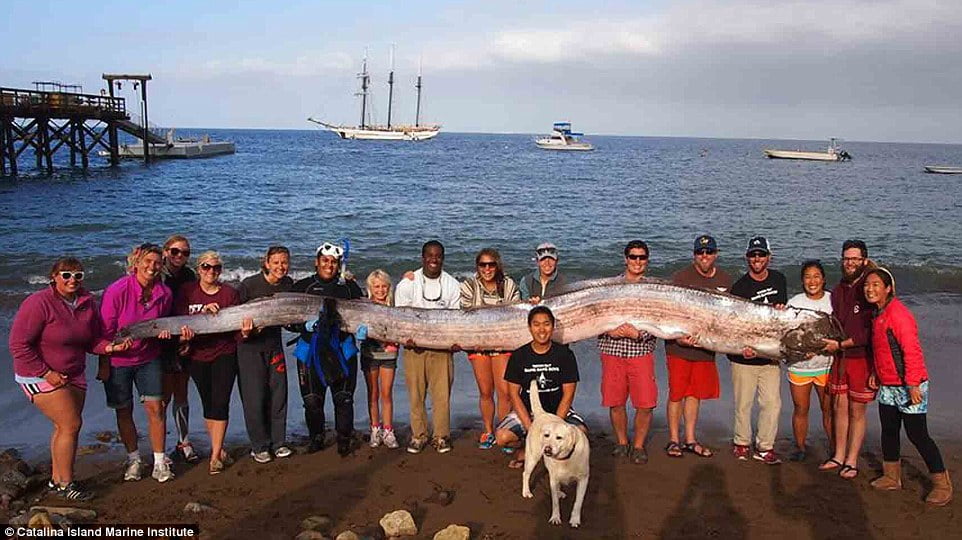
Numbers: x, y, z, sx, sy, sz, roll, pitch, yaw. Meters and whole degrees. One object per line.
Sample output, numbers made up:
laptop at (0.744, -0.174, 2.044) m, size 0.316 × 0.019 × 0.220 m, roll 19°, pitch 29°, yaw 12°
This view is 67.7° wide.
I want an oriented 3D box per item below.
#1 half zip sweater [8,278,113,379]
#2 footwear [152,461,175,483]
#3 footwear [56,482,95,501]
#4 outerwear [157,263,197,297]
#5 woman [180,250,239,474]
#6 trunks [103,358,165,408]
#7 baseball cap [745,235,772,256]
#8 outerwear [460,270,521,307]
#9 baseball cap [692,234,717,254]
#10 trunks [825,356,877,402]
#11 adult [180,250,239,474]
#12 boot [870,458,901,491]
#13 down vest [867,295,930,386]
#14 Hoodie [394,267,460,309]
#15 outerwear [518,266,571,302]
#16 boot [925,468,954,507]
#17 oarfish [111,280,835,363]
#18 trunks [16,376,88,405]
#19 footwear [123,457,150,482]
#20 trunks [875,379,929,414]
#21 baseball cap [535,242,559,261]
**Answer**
half zip sweater at (-6.573, 1.018, 11.618) m, size 1.437 × 1.673 × 1.702 m, roll 5°, pitch -1°, yaw 25°
footwear at (-5.163, 3.316, 11.643) m, size 0.455 × 0.188 × 0.210 m, roll -4°, pitch -6°, yaw 42°
footwear at (-6.357, 3.473, 11.269) m, size 0.613 × 0.252 × 0.234 m, roll 1°, pitch 3°, yaw 8°
outerwear at (-5.051, 0.136, 12.231) m, size 0.828 × 0.736 × 0.438 m, roll 0°, pitch 0°, yaw -19°
woman at (-4.471, 1.493, 11.990) m, size 0.877 × 3.617 × 0.855 m, roll 9°, pitch 16°, yaw 43°
trunks at (-5.575, 1.808, 11.546) m, size 0.928 × 0.796 × 0.490 m, roll -1°, pitch -3°, yaw -25°
baseball cap at (4.719, -0.428, 12.222) m, size 0.429 × 0.307 × 0.604 m, roll -4°, pitch 3°, yaw 28°
outerwear at (0.114, 0.167, 12.658) m, size 1.036 × 0.703 × 0.539 m, roll -1°, pitch 0°, yaw -1°
baseball cap at (3.886, -0.432, 12.492) m, size 0.488 × 0.331 × 0.679 m, roll -2°, pitch -5°, yaw 22°
trunks at (6.095, 1.775, 11.777) m, size 0.443 × 0.672 × 0.732 m, roll 13°, pitch -16°, yaw -27°
adult at (-4.471, 1.492, 11.992) m, size 0.884 × 3.617 × 0.851 m, roll 9°, pitch 16°, yaw 44°
boot at (6.434, 3.358, 11.627) m, size 0.727 × 0.456 × 0.284 m, roll -2°, pitch 0°, yaw -11°
down vest at (6.467, 1.163, 11.146) m, size 0.799 × 1.422 × 0.394 m, roll 6°, pitch 14°, yaw 33°
Hoodie at (-0.938, 0.099, 12.803) m, size 1.272 × 0.898 × 0.625 m, roll 0°, pitch -1°, yaw -3°
outerwear at (1.081, 0.299, 12.438) m, size 0.987 × 0.783 × 0.484 m, roll 1°, pitch 1°, yaw 6°
boot at (7.207, 3.465, 11.271) m, size 0.796 × 0.404 × 0.277 m, roll -5°, pitch -9°, yaw -36°
oarfish at (-0.129, 0.865, 11.981) m, size 10.441 × 1.281 × 1.190 m, roll 0°, pitch -13°, yaw 5°
trunks at (-6.656, 1.786, 11.030) m, size 0.710 × 0.279 × 0.547 m, roll -3°, pitch -3°, yaw 4°
footwear at (-5.645, 3.300, 11.670) m, size 0.224 × 0.215 × 0.503 m, roll 2°, pitch -12°, yaw -18°
trunks at (6.669, 2.043, 11.307) m, size 0.545 × 0.544 × 0.808 m, roll 6°, pitch -13°, yaw -39°
baseball cap at (1.150, -0.319, 12.491) m, size 0.282 × 0.218 × 0.413 m, roll -1°, pitch -4°, yaw 7°
